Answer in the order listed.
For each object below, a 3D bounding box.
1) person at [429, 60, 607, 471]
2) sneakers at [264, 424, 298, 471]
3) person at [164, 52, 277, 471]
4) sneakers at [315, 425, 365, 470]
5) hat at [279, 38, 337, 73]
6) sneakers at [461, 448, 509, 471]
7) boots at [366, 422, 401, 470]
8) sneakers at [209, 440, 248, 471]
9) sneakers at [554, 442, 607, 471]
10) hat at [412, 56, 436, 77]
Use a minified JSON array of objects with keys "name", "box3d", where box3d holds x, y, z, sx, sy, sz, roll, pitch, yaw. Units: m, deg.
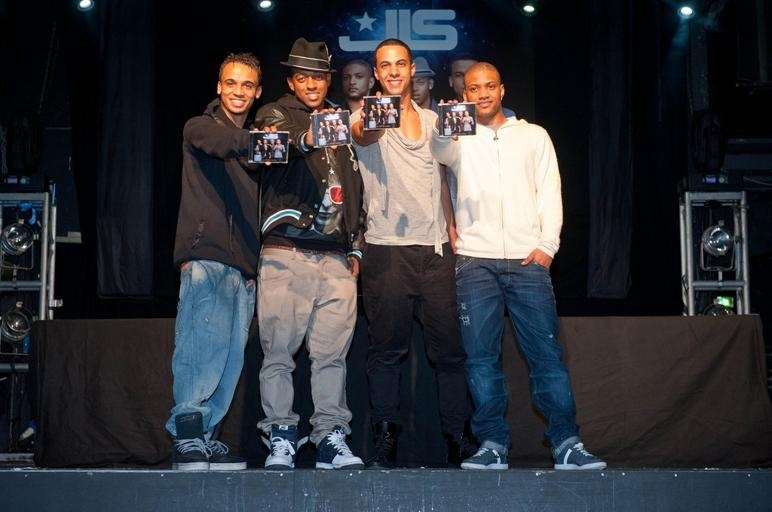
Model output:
[{"name":"person","box3d":[0.829,0.177,6.388,0.913,2.416,0.398,-1,-3,2]},{"name":"sneakers","box3d":[-0.670,1.231,6.191,0.191,0.267,0.248,0,-3,-6]},{"name":"person","box3d":[-1.138,-0.001,6.346,0.612,2.770,0.484,0,-3,-8]},{"name":"sneakers","box3d":[-0.306,1.263,6.225,0.147,0.273,0.442,9,-15,-41]},{"name":"hat","box3d":[-0.540,-1.439,6.727,0.440,0.222,0.576,1,11,-28]},{"name":"sneakers","box3d":[0.658,1.329,6.208,0.313,0.138,0.126,6,-17,-12]},{"name":"boots","box3d":[-0.015,1.250,6.303,0.218,0.294,0.325,-1,-3,2]},{"name":"sneakers","box3d":[-1.039,1.296,6.241,0.243,0.166,0.205,0,-3,-9]},{"name":"sneakers","box3d":[1.226,1.296,6.151,0.416,0.184,0.150,-9,-16,34]},{"name":"hat","box3d":[0.305,-1.589,8.040,0.231,0.093,0.201,3,2,15]}]
